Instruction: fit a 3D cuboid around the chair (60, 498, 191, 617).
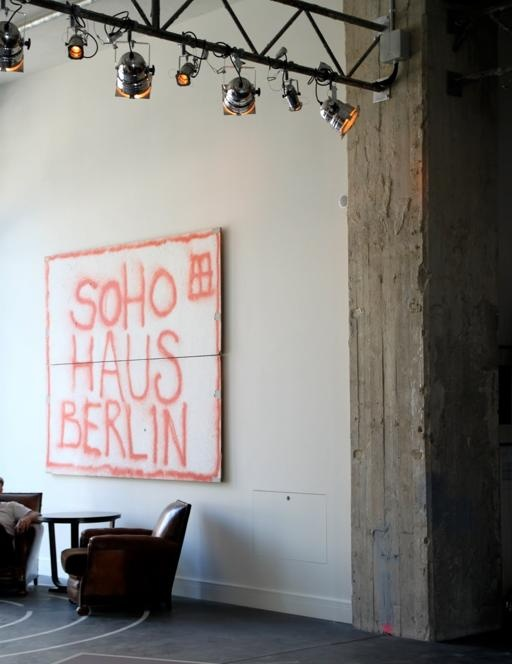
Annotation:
[{"bbox_3d":[-0.910,1.581,6.105,0.742,0.740,0.683,7,-19,-20],"label":"chair"}]
